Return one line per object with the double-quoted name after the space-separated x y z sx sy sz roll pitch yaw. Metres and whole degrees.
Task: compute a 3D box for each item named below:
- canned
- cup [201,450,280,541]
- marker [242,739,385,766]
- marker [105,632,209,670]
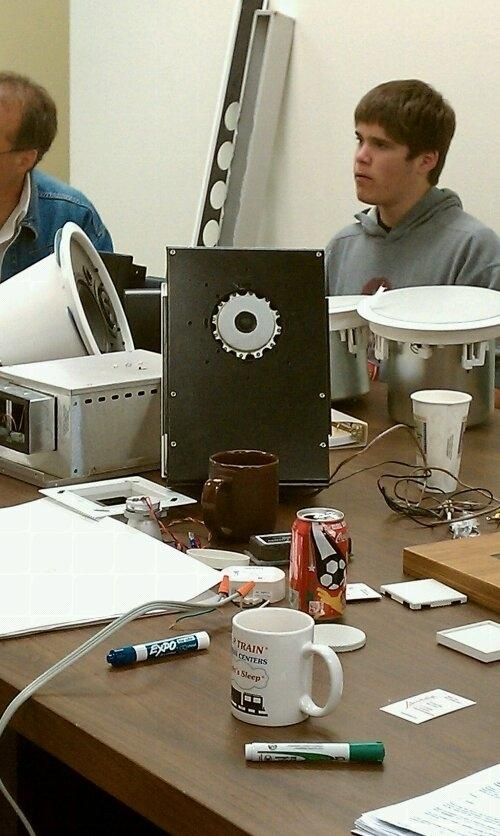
0.065 0.129 0.704 0.068 0.084 0.079 3 6 18 "canned"
-0.008 0.092 0.927 0.074 0.085 0.115 4 10 24 "cup"
0.039 0.203 0.471 0.085 0.016 0.012 1 12 0 "marker"
-0.074 0.189 0.622 0.109 0.022 0.022 -5 -1 -27 "marker"
